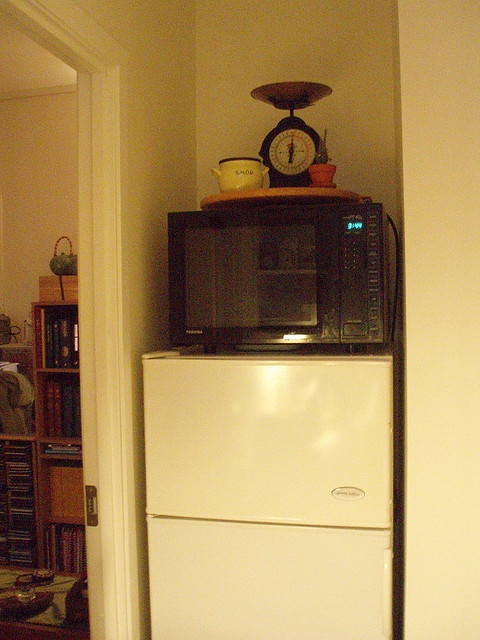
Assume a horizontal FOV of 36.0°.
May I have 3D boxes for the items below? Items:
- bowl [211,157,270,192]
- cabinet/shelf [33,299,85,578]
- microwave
[{"bbox_3d":[0.002,-0.360,1.887,0.137,0.069,0.097,-1,12,2],"label":"bowl"},{"bbox_3d":[-0.709,0.466,2.875,0.188,1.056,0.312,-1,-2,-14],"label":"cabinet/shelf"},{"bbox_3d":[0.094,-0.099,1.769,0.639,0.398,0.332,0,2,13],"label":"microwave"}]
